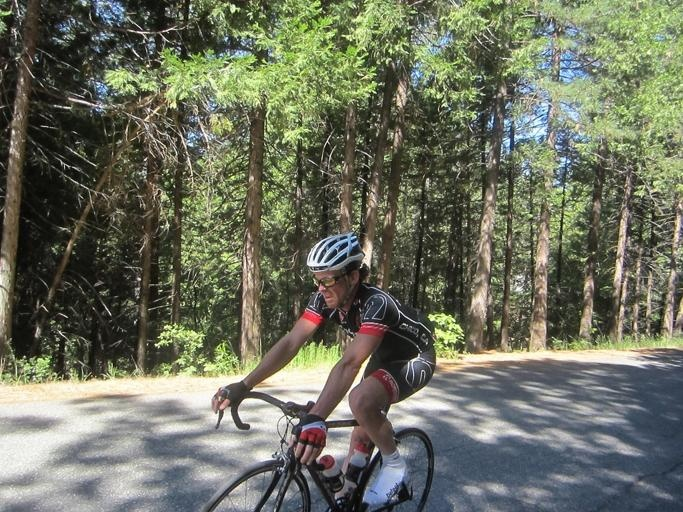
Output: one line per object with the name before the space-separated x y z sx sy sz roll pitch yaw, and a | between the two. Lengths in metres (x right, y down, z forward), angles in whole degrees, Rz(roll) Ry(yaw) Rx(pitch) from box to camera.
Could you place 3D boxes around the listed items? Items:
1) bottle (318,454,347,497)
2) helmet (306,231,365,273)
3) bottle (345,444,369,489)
bottle | -0.123 2.778 7.372 0.167 0.612 0.377 -5 15 34
helmet | -0.068 -0.027 7.606 0.646 0.313 0.447 -31 38 -33
bottle | 0.218 2.763 7.603 0.181 0.644 0.259 15 39 8
